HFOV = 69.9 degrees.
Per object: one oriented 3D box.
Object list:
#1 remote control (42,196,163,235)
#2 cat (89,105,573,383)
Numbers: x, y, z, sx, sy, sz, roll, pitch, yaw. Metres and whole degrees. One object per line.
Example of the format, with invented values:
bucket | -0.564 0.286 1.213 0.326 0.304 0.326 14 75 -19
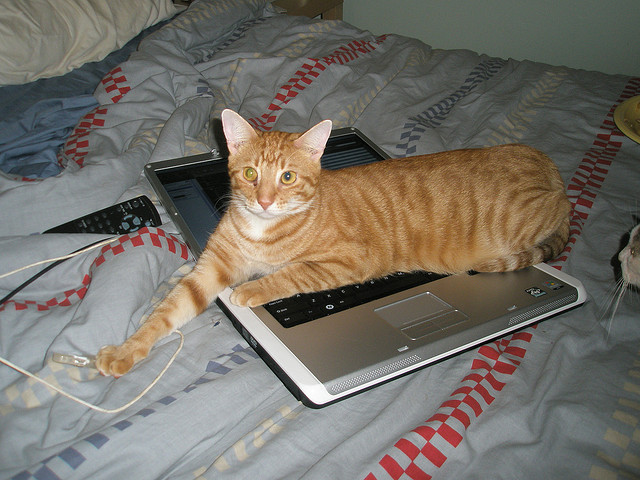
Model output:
remote control | -0.804 -0.076 1.718 0.383 0.054 0.132 -16 70 -19
cat | 0.329 -0.082 1.950 2.112 0.683 0.762 -15 35 -8
